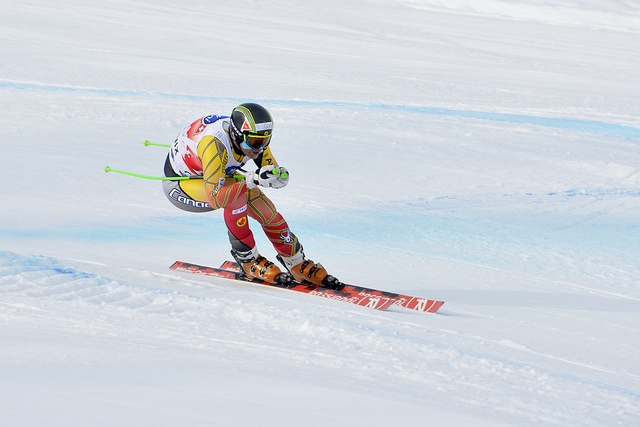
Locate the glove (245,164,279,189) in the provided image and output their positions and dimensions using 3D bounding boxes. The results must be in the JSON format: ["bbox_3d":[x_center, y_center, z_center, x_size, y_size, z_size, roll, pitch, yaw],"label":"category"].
[{"bbox_3d":[-0.691,-0.413,7.741,0.304,0.444,0.318,0,47,-21],"label":"glove"}]
